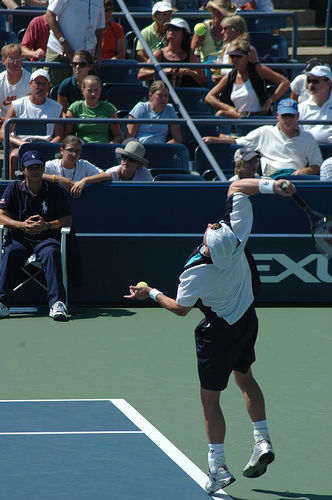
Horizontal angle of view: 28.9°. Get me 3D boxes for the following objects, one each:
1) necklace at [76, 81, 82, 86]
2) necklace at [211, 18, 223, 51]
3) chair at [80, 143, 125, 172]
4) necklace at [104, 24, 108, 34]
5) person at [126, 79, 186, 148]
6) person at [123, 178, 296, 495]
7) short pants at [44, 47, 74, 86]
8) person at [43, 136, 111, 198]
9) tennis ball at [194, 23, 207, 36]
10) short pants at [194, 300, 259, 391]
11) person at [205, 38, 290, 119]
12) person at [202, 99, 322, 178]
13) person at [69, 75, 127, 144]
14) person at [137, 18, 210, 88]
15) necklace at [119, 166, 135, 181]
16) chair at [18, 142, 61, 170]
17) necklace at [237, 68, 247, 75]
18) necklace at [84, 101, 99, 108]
[{"bbox_3d":[-1.016,-1.939,7.466,0.075,0.070,0.072,2,26,-5],"label":"necklace"},{"bbox_3d":[0.739,-3.176,9.622,0.081,0.316,0.248,-28,21,-20],"label":"necklace"},{"bbox_3d":[-0.650,-0.992,6.676,0.337,0.404,0.342,-1,30,-3],"label":"chair"},{"bbox_3d":[-0.875,-3.198,9.300,0.057,0.101,0.102,-4,7,-4],"label":"necklace"},{"bbox_3d":[-0.125,-1.482,7.316,0.665,0.844,0.515,7,5,-11],"label":"person"},{"bbox_3d":[0.305,0.347,2.824,0.533,1.291,0.459,-7,8,-24],"label":"person"},{"bbox_3d":[-1.356,-2.343,8.132,0.330,0.493,0.548,-4,7,-9],"label":"short pants"},{"bbox_3d":[-0.933,-0.652,6.245,0.673,0.852,0.473,3,1,-13],"label":"person"},{"bbox_3d":[0.497,-3.288,9.604,0.215,0.180,0.167,0,8,21],"label":"tennis ball"},{"bbox_3d":[0.281,0.424,2.850,0.299,0.351,0.176,-4,7,-9],"label":"short pants"},{"bbox_3d":[0.959,-1.903,7.809,1.057,1.208,0.734,-2,20,-5],"label":"person"},{"bbox_3d":[1.026,-1.144,6.621,1.600,0.646,0.547,-1,-2,0],"label":"person"},{"bbox_3d":[-0.832,-1.467,7.098,0.733,0.882,0.491,-12,24,-30],"label":"person"},{"bbox_3d":[0.109,-2.615,8.744,0.991,1.026,0.581,-3,25,-3],"label":"person"},{"bbox_3d":[-0.398,-0.757,6.441,0.128,0.118,0.122,-1,-22,3],"label":"necklace"},{"bbox_3d":[-1.262,-0.953,6.485,0.332,0.397,0.330,-3,12,-17],"label":"chair"},{"bbox_3d":[0.906,-2.119,7.639,0.065,0.060,0.046,-1,-25,8],"label":"necklace"},{"bbox_3d":[-0.831,-1.629,7.167,0.101,0.024,0.103,-6,-19,12],"label":"necklace"}]
